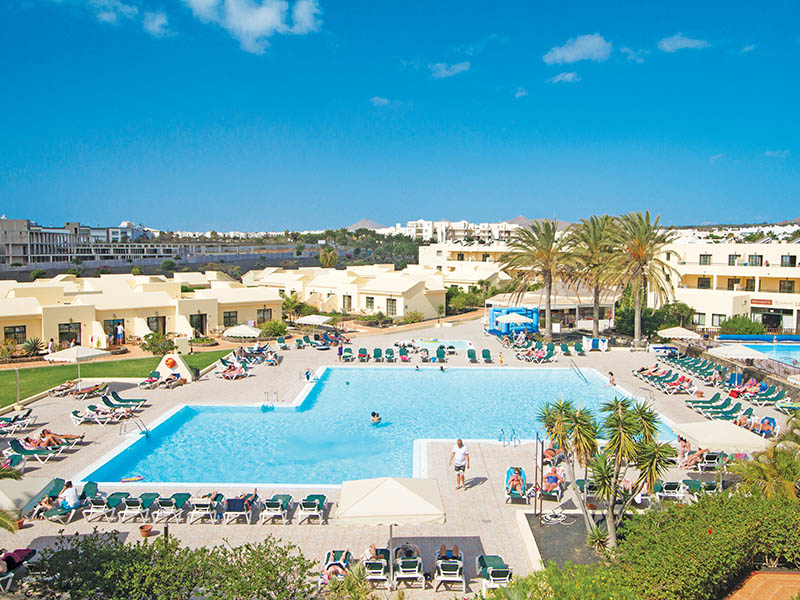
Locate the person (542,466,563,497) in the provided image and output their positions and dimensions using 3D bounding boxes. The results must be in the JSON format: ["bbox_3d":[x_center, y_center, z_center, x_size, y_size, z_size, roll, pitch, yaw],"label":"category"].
[{"bbox_3d":[5.119,6.118,22.255,0.544,0.528,0.997,-3,-5,18],"label":"person"}]

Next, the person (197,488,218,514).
[{"bbox_3d":[-6.095,6.385,21.030,0.418,0.407,0.739,1,10,0],"label":"person"}]

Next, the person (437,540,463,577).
[{"bbox_3d":[1.352,7.093,18.165,0.675,0.473,1.324,0,-1,3],"label":"person"}]

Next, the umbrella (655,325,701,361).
[{"bbox_3d":[18.065,2.995,42.618,2.127,1.556,2.298,1,6,21],"label":"umbrella"}]

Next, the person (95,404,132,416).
[{"bbox_3d":[-12.828,4.897,29.618,1.044,0.381,0.770,1,5,0],"label":"person"}]

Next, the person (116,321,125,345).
[{"bbox_3d":[-20.376,2.406,48.230,0.664,1.561,1.649,-7,7,-22],"label":"person"}]

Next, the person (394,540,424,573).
[{"bbox_3d":[0.229,7.103,18.304,0.576,0.477,1.278,0,-5,1],"label":"person"}]

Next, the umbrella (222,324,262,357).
[{"bbox_3d":[-11.309,2.950,47.460,2.059,1.467,2.050,1,3,-23],"label":"umbrella"}]

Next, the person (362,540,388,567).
[{"bbox_3d":[-0.701,7.033,18.364,0.520,0.255,0.768,2,2,-3],"label":"person"}]

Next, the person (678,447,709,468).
[{"bbox_3d":[10.701,5.662,24.065,0.918,0.661,1.217,0,8,29],"label":"person"}]

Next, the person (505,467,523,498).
[{"bbox_3d":[3.783,6.093,21.879,0.511,0.952,0.337,0,51,7],"label":"person"}]

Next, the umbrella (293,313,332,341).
[{"bbox_3d":[-7.462,2.423,56.280,2.180,1.419,2.091,1,7,11],"label":"umbrella"}]

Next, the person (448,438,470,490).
[{"bbox_3d":[2.085,5.543,23.200,0.561,1.560,1.608,-4,7,3],"label":"person"}]

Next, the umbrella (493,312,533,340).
[{"bbox_3d":[8.510,1.843,50.512,2.009,1.005,2.412,1,3,41],"label":"umbrella"}]
